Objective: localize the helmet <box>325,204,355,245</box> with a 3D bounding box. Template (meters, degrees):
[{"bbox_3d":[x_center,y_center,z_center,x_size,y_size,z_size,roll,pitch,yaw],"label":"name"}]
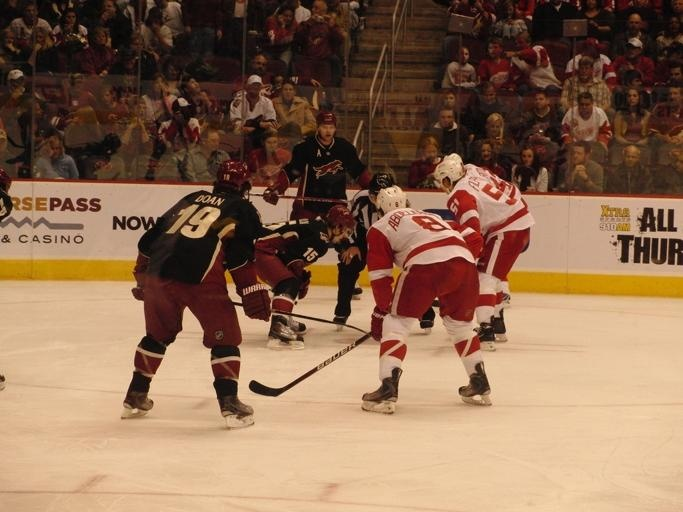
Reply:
[{"bbox_3d":[-0.024,-0.262,8.262,0.210,0.336,0.238,-4,12,-24],"label":"helmet"}]

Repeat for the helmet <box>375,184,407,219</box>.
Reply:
[{"bbox_3d":[0.367,-0.406,7.053,0.255,0.229,0.184,-14,18,-8],"label":"helmet"}]

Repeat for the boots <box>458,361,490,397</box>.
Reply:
[{"bbox_3d":[0.953,0.916,6.822,0.131,0.235,0.267,-1,-9,-43],"label":"boots"}]

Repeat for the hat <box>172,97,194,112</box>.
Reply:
[{"bbox_3d":[-1.899,-1.806,11.348,0.234,0.114,0.154,-10,6,1],"label":"hat"}]

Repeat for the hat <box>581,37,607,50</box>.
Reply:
[{"bbox_3d":[3.123,-2.615,11.686,0.302,0.232,0.218,3,18,5],"label":"hat"}]

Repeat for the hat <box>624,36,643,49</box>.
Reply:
[{"bbox_3d":[3.755,-2.736,12.175,0.148,0.062,0.205,-1,3,43],"label":"hat"}]

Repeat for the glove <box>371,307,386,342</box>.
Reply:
[{"bbox_3d":[0.270,0.514,7.109,0.084,0.203,0.218,8,1,12],"label":"glove"}]

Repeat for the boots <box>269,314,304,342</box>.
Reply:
[{"bbox_3d":[-0.459,0.667,8.632,0.161,0.181,0.463,13,1,24],"label":"boots"}]

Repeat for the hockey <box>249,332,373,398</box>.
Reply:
[{"bbox_3d":[-0.258,0.891,7.646,1.076,0.165,0.087,-21,-11,-23],"label":"hockey"}]

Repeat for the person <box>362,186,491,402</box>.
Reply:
[{"bbox_3d":[0.604,0.381,6.750,0.910,1.378,0.540,1,12,-4],"label":"person"}]

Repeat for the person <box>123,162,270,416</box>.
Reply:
[{"bbox_3d":[-0.988,0.340,6.405,0.906,1.519,0.479,4,12,12],"label":"person"}]

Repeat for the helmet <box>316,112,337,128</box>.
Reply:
[{"bbox_3d":[-0.164,-1.366,9.542,0.177,0.097,0.171,0,0,-6],"label":"helmet"}]

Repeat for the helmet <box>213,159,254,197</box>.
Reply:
[{"bbox_3d":[-0.786,-0.563,6.617,0.217,0.239,0.265,6,6,5],"label":"helmet"}]
